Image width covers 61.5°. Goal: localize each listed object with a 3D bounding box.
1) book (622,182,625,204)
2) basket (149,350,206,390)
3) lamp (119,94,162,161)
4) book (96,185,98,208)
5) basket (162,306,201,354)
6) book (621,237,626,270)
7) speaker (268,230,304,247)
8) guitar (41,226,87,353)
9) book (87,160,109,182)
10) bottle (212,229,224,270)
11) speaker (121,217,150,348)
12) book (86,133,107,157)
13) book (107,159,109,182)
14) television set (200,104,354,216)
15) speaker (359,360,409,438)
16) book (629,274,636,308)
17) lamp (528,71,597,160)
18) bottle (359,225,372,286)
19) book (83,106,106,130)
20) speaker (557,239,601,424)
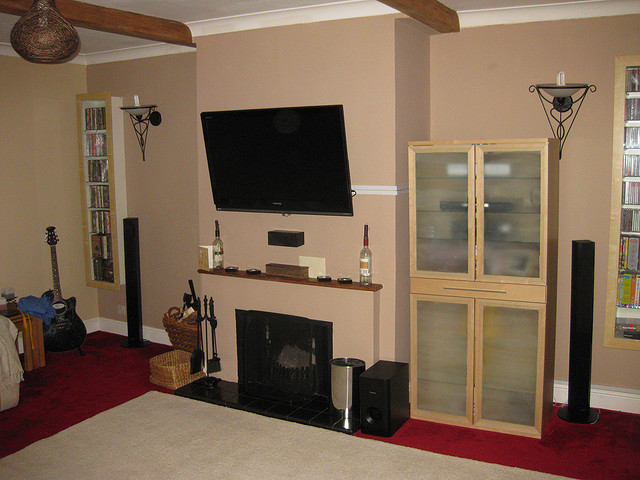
[{"bbox_3d":[2.632,-0.416,4.667,0.024,0.219,0.158,0,8,22],"label":"book"},{"bbox_3d":[-1.469,1.318,5.504,0.563,0.278,0.390,8,16,32],"label":"basket"},{"bbox_3d":[-2.050,-1.292,6.250,0.424,0.755,0.590,-5,14,-16],"label":"lamp"},{"bbox_3d":[-2.738,-0.539,6.602,0.018,0.233,0.046,-6,14,-22],"label":"book"},{"bbox_3d":[-1.482,0.902,5.800,0.490,0.371,0.452,2,-1,-10],"label":"basket"},{"bbox_3d":[2.653,0.119,4.704,0.021,0.276,0.049,3,13,18],"label":"book"},{"bbox_3d":[-0.328,-0.019,5.035,0.331,0.134,0.153,6,15,28],"label":"speaker"},{"bbox_3d":[-3.039,0.584,6.149,0.442,1.359,0.441,11,18,43],"label":"guitar"},{"bbox_3d":[-2.692,-0.849,6.540,0.249,0.240,0.085,7,12,24],"label":"book"},{"bbox_3d":[-1.016,0.093,5.328,0.119,0.394,0.112,-1,13,0],"label":"bottle"},{"bbox_3d":[-2.271,0.522,6.486,0.404,1.546,0.381,-2,6,-14],"label":"speaker"},{"bbox_3d":[-2.703,-1.150,6.524,0.258,0.245,0.089,6,9,25],"label":"book"},{"bbox_3d":[-2.538,-0.824,6.426,0.018,0.256,0.067,-6,14,-21],"label":"book"},{"bbox_3d":[-0.387,-0.686,4.905,1.457,0.951,0.106,3,13,21],"label":"television set"},{"bbox_3d":[0.546,1.325,4.575,0.335,0.648,0.604,2,5,33],"label":"speaker"},{"bbox_3d":[2.742,0.452,4.718,0.037,0.288,0.045,4,14,20],"label":"book"},{"bbox_3d":[2.108,-1.105,4.727,0.441,0.688,0.471,-13,16,-41],"label":"lamp"},{"bbox_3d":[0.402,0.133,4.720,0.106,0.523,0.141,0,13,4],"label":"bottle"},{"bbox_3d":[-2.721,-1.469,6.495,0.264,0.250,0.089,7,10,26],"label":"book"},{"bbox_3d":[2.296,0.803,4.635,0.349,1.555,0.382,6,14,27],"label":"speaker"}]
